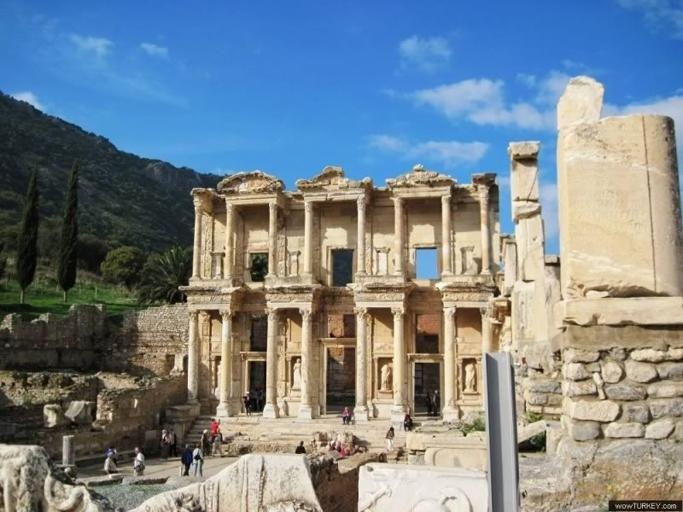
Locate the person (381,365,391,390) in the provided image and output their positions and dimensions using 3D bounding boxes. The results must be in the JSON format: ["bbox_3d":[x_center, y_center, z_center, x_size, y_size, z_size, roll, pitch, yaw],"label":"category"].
[{"bbox_3d":[1.737,4.612,29.217,0.407,0.982,0.264,-2,-9,2],"label":"person"}]

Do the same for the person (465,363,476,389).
[{"bbox_3d":[4.756,4.430,28.141,0.417,1.066,0.258,-1,-9,1],"label":"person"}]

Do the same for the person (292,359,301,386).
[{"bbox_3d":[-1.768,4.641,30.512,0.283,1.161,0.605,0,-9,-7],"label":"person"}]
